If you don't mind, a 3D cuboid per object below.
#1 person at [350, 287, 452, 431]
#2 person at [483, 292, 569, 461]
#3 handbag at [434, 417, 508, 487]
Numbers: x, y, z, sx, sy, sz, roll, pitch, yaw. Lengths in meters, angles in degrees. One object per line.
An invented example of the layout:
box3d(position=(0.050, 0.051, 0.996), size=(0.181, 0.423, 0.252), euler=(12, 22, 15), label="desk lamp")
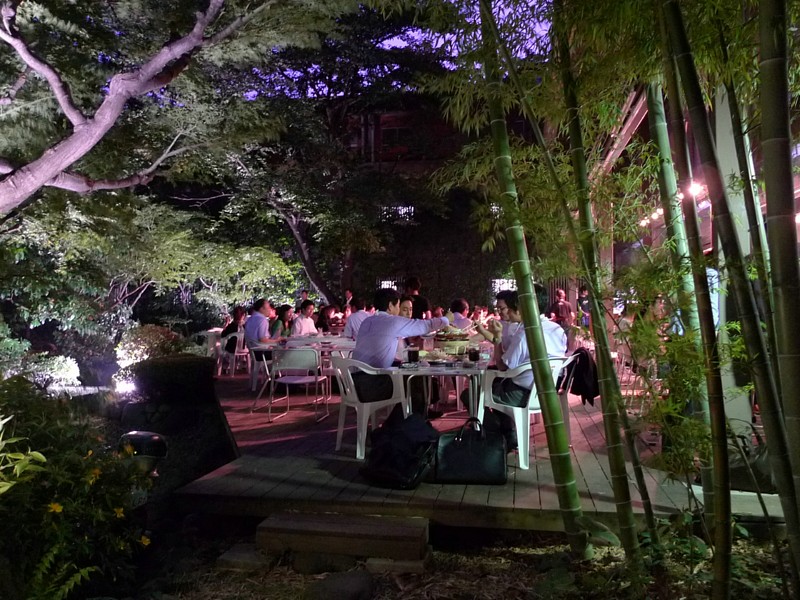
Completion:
box3d(position=(-0.099, 0.376, 5.025), size=(0.675, 0.984, 0.663), euler=(0, -7, -14), label="person")
box3d(position=(1.079, 0.587, 4.872), size=(0.671, 1.344, 1.606), euler=(-3, -7, 14), label="person")
box3d(position=(0.519, 1.077, 4.028), size=(0.456, 0.372, 0.173), euler=(0, -17, 6), label="handbag")
